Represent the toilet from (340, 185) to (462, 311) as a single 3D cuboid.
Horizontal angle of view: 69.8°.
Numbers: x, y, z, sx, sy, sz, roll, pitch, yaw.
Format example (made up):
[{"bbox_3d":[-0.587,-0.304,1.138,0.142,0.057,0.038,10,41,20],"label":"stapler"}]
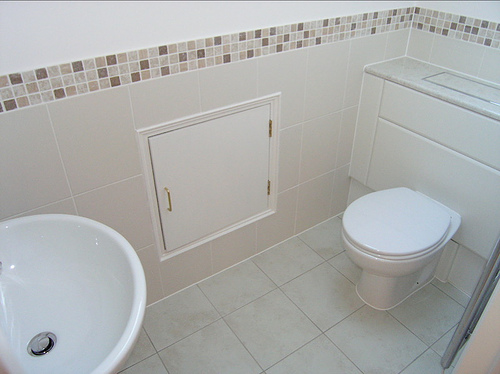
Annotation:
[{"bbox_3d":[0.753,0.332,1.875,0.589,0.454,0.451,-26,35,-27],"label":"toilet"}]
